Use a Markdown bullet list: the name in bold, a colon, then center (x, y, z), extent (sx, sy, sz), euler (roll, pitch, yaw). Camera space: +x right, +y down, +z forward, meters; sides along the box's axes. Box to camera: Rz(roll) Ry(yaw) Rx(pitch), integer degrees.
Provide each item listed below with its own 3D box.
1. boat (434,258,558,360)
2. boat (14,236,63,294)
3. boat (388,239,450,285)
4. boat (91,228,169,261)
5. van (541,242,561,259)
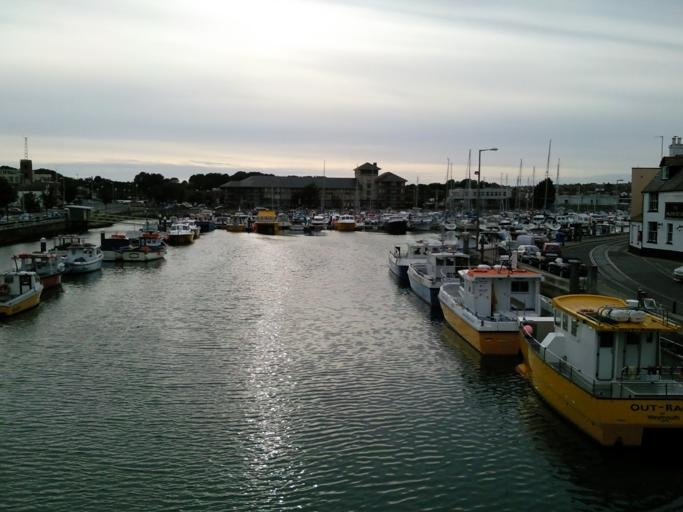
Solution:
- **boat**: center (9.747, 2.336, 38.997), extent (5.312, 3.773, 11.655), euler (-6, 8, 4)
- **boat**: center (-26.800, 1.111, 53.647), extent (3.432, 3.693, 9.581), euler (-1, 3, -25)
- **boat**: center (7.029, 0.433, 61.827), extent (3.475, 2.302, 6.971), euler (0, 5, -1)
- **boat**: center (-25.361, -0.404, 74.699), extent (8.501, 4.110, 8.454), euler (-5, 7, -23)
- **van**: center (20.585, -0.319, 59.245), extent (1.515, 1.101, 2.442), euler (4, 22, 13)
